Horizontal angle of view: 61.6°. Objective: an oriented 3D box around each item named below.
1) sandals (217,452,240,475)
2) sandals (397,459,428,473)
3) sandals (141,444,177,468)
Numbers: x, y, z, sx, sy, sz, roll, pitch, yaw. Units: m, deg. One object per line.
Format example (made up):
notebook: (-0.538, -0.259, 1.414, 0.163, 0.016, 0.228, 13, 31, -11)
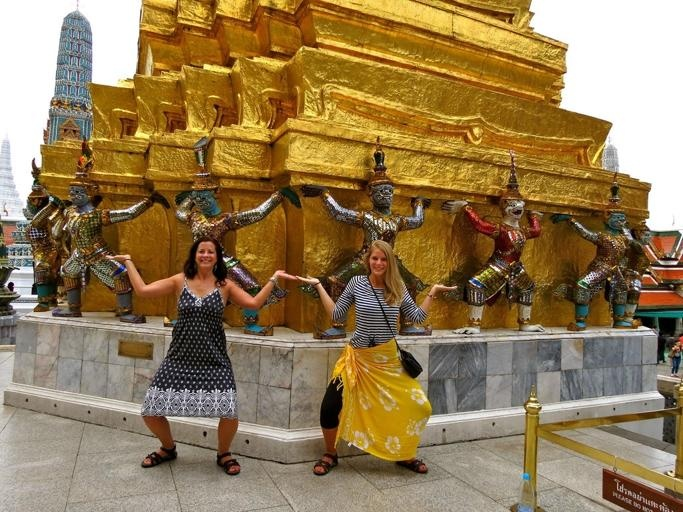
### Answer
sandals: (-1.147, 2.089, 5.770, 0.139, 0.117, 0.292, 3, -3, -34)
sandals: (0.740, 2.160, 5.923, 0.273, 0.079, 0.120, 1, 6, 37)
sandals: (-1.847, 2.027, 5.810, 0.331, 0.130, 0.148, 3, -2, -39)
